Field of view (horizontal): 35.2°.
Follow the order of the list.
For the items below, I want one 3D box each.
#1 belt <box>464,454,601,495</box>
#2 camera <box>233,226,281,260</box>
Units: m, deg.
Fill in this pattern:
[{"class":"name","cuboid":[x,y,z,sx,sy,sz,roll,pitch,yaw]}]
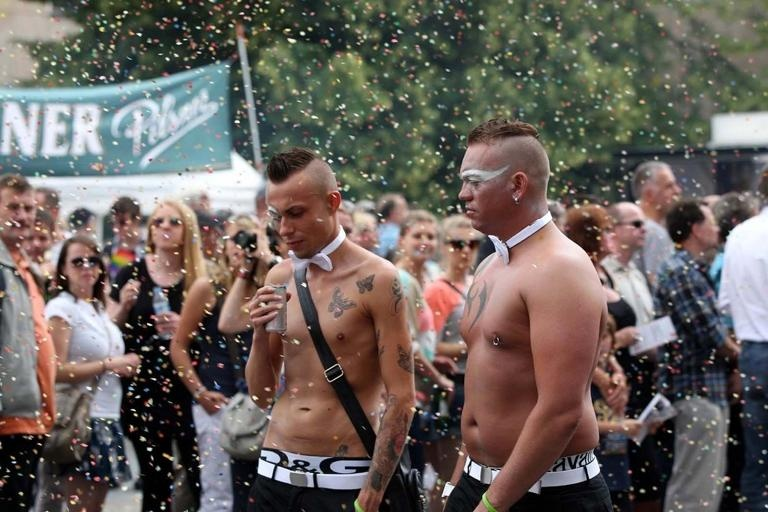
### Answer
[{"class":"belt","cuboid":[1.357,1.937,10.950,1.163,0.278,0.194,2,1,4]},{"class":"camera","cuboid":[-1.359,-0.165,12.925,0.335,0.210,0.366,28,4,31]}]
